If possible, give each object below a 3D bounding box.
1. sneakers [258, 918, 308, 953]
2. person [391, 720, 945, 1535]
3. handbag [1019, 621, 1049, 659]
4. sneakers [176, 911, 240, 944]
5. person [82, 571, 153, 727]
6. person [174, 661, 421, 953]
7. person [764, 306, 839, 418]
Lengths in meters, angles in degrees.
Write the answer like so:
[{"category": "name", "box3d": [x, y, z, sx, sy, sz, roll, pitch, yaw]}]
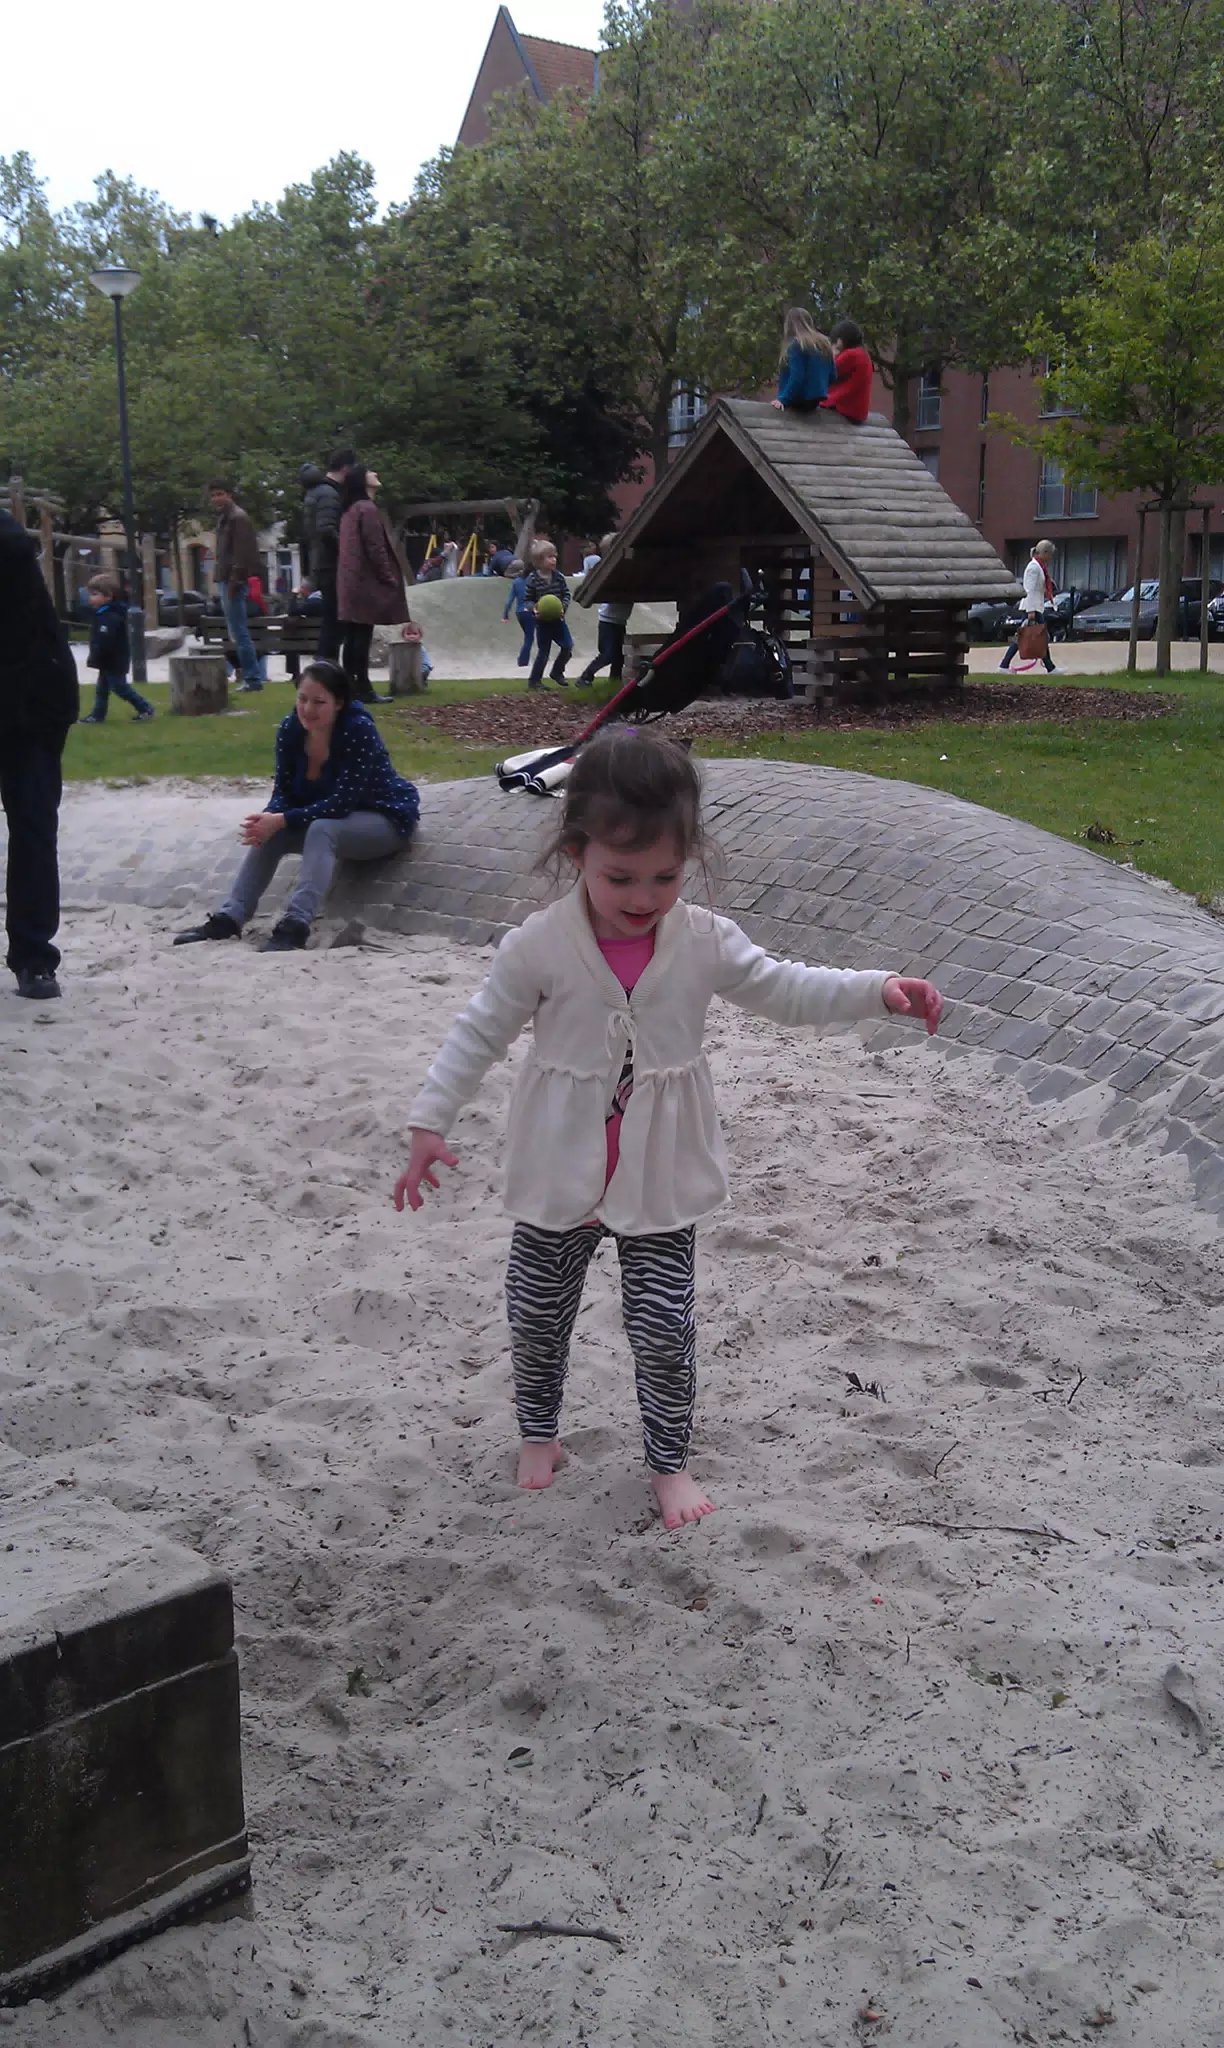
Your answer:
[{"category": "sneakers", "box3d": [-1.227, -0.340, 7.077, 0.167, 0.124, 0.192, -4, 14, -10]}, {"category": "person", "box3d": [0.043, 0.170, 2.877, 0.646, 1.255, 0.450, 2, 13, 12]}, {"category": "handbag", "box3d": [4.440, -4.074, 19.949, 0.279, 0.393, 0.535, 1, 14, 11]}, {"category": "sneakers", "box3d": [-1.528, -0.367, 7.209, 0.289, 0.122, 0.096, 2, 5, 7]}, {"category": "person", "box3d": [-4.045, -3.089, 15.340, 0.492, 1.127, 1.794, -5, 14, -15]}, {"category": "person", "box3d": [-1.239, -0.889, 7.382, 0.634, 1.067, 1.018, 3, 14, 16]}, {"category": "person", "box3d": [1.397, -4.877, 13.733, 0.411, 0.762, 0.795, 0, 13, 6]}]
